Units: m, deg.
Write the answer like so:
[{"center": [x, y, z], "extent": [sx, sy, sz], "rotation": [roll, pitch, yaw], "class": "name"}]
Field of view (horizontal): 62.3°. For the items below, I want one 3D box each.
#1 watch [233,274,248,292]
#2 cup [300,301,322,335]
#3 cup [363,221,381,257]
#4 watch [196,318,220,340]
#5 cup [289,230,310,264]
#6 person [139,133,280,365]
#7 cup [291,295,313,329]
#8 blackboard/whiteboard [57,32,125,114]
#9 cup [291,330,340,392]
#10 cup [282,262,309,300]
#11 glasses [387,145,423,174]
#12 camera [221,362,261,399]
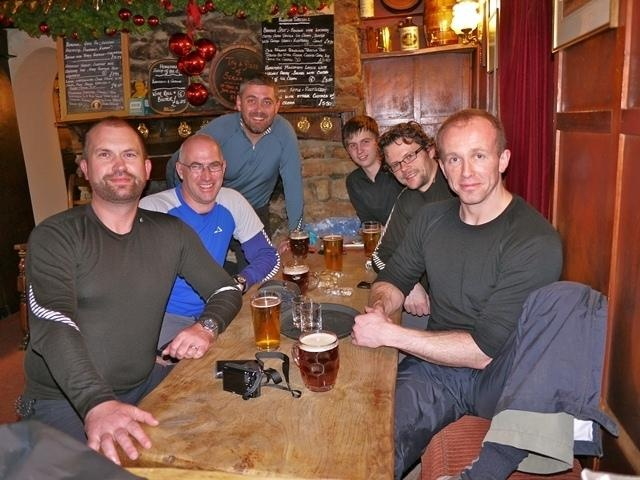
[{"center": [-0.420, 0.230, 2.794], "extent": [0.068, 0.084, 0.077], "rotation": [-1, -5, 4], "class": "watch"}, {"center": [-0.034, 0.369, 2.385], "extent": [0.083, 0.089, 0.092], "rotation": [-8, -25, 24], "class": "cup"}, {"center": [0.338, 0.027, 3.338], "extent": [0.143, 0.216, 0.139], "rotation": [-1, -11, 0], "class": "cup"}, {"center": [-0.486, 0.396, 2.351], "extent": [0.058, 0.028, 0.092], "rotation": [-28, 50, -32], "class": "watch"}, {"center": [-0.126, 0.030, 3.241], "extent": [0.134, 0.193, 0.134], "rotation": [1, -17, 0], "class": "cup"}, {"center": [-0.688, 0.127, 3.198], "extent": [0.899, 1.395, 0.790], "rotation": [-3, 16, -39], "class": "person"}, {"center": [-0.090, 0.329, 2.382], "extent": [0.115, 0.166, 0.186], "rotation": [-1, -11, 11], "class": "cup"}, {"center": [-2.585, -1.897, 6.042], "extent": [0.908, 0.992, 0.073], "rotation": [1, 3, 14], "class": "blackboard/whiteboard"}, {"center": [-0.011, 0.471, 1.989], "extent": [0.187, 0.165, 0.147], "rotation": [-2, 6, 23], "class": "cup"}, {"center": [-0.083, 0.212, 2.776], "extent": [0.196, 0.176, 0.124], "rotation": [0, 18, 9], "class": "cup"}, {"center": [0.519, -0.496, 3.257], "extent": [0.153, 0.048, 0.156], "rotation": [-31, 9, 45], "class": "glasses"}, {"center": [-0.282, 0.516, 1.977], "extent": [0.141, 0.100, 0.069], "rotation": [-1, 4, 21], "class": "camera"}]
